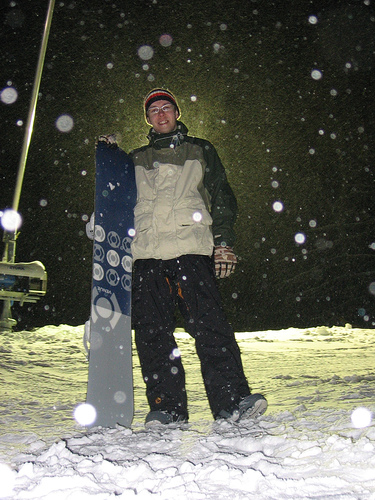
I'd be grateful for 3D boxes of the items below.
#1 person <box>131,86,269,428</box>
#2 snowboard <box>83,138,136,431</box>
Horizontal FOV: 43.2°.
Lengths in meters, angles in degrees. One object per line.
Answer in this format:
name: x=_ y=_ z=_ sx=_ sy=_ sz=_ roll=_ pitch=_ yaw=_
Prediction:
person: x=-0.007 y=-0.064 z=1.861 sx=0.450 sy=1.398 sz=0.315 roll=-4 pitch=-13 yaw=-1
snowboard: x=-0.253 y=0.088 z=1.747 sx=0.267 sy=1.010 sz=0.160 roll=4 pitch=-6 yaw=-18
